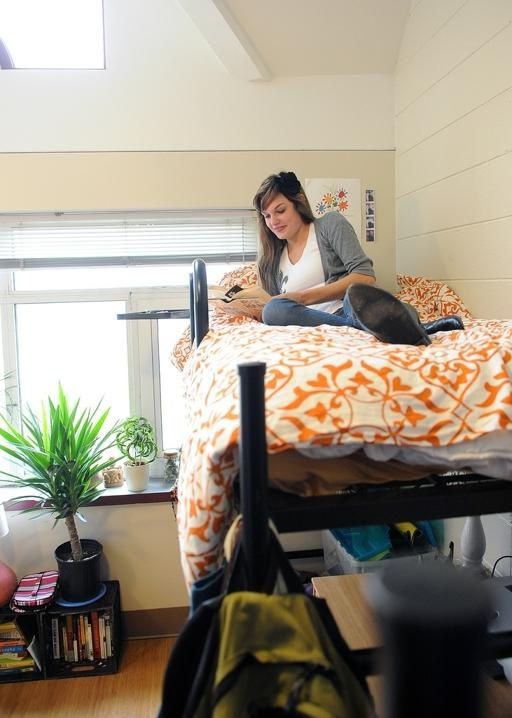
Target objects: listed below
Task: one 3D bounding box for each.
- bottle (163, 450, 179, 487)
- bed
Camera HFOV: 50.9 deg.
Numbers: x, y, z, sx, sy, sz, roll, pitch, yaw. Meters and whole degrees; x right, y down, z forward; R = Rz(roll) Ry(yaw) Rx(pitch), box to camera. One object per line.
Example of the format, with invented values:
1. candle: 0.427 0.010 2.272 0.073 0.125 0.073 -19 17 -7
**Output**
1. bottle: -0.381 0.490 2.433 0.069 0.149 0.226 -8 6 -11
2. bed: 0.096 -0.002 1.003 0.367 0.406 0.640 -2 6 -7
